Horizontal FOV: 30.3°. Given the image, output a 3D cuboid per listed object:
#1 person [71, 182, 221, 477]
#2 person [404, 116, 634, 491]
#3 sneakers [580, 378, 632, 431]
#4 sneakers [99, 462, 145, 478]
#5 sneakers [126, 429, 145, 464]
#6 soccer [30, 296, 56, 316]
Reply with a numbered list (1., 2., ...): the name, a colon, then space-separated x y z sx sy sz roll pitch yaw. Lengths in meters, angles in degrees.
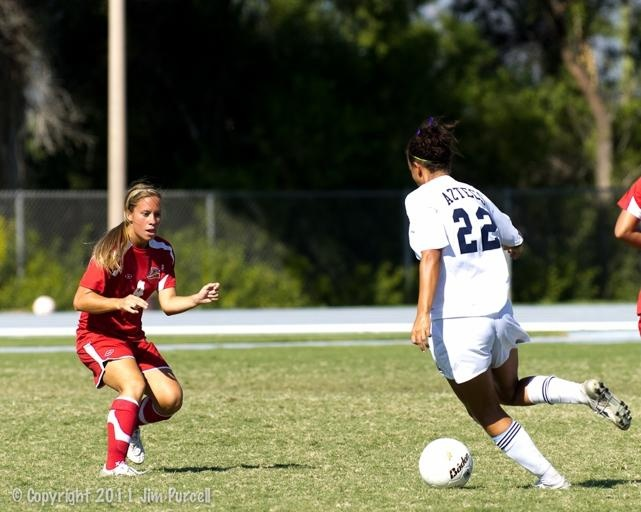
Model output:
1. person: -1.586 0.594 10.039 0.982 2.390 0.719 -2 7 -14
2. person: 1.402 0.394 9.493 1.419 2.958 0.686 0 7 4
3. sneakers: 2.310 1.177 9.574 0.445 0.298 0.190 39 -29 -8
4. sneakers: -1.668 1.774 9.892 0.349 0.171 0.139 0 19 -1
5. sneakers: -1.582 1.643 10.189 0.100 0.162 0.329 3 10 0
6. soccer: -4.729 0.820 20.158 0.372 0.274 0.635 -3 8 -14
